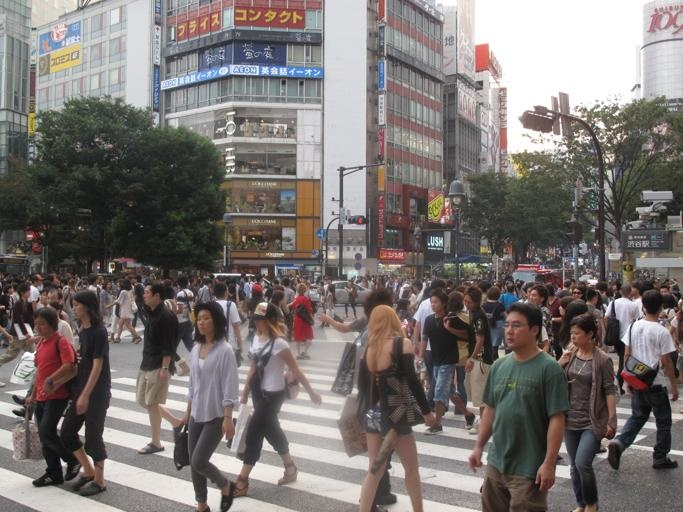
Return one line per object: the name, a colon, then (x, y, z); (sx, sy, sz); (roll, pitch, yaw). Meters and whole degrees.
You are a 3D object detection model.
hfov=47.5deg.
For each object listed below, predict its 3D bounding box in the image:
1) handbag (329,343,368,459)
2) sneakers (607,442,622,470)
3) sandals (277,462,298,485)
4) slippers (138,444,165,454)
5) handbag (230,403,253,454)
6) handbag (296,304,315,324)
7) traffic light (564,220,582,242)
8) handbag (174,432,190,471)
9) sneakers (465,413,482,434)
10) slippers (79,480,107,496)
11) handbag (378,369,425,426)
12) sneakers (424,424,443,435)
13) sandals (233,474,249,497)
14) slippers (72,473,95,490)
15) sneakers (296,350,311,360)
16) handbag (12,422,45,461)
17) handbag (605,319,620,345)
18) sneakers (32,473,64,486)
handbag: (0.108, 1.892, 9.955); (0.434, 1.555, 1.129); (1, -2, -1)
sneakers: (3.699, 2.698, 10.457); (0.188, 0.388, 0.242); (0, -3, 21)
sandals: (-0.713, 2.985, 10.641); (0.347, 0.294, 0.229); (2, -3, -24)
slippers: (-2.824, 2.917, 11.619); (0.308, 0.126, 0.153); (3, -7, -2)
handbag: (-1.302, 2.309, 10.277); (0.270, 0.681, 0.290); (1, -2, -8)
handbag: (-0.945, 1.519, 20.128); (0.211, 0.594, 0.550); (-27, -18, 15)
traffic light: (6.712, -0.726, 22.274); (0.391, 0.697, 1.098); (0, -3, 14)
handbag: (-1.986, 2.484, 9.763); (0.135, 0.427, 0.305); (0, -4, 13)
sneakers: (2.184, 2.812, 12.762); (0.140, 0.186, 0.438); (-8, -11, 19)
slippers: (-3.283, 3.095, 10.295); (0.152, 0.137, 0.315); (-5, -11, 40)
handbag: (0.772, 1.535, 9.360); (0.479, 0.596, 0.868); (-15, -38, 7)
sneakers: (1.581, 2.834, 12.666); (0.432, 0.189, 0.165); (2, -6, -13)
sandals: (-1.293, 3.035, 10.218); (0.172, 0.270, 0.331); (1, -3, -7)
slippers: (-3.443, 3.043, 10.395); (0.128, 0.156, 0.368); (-6, -7, 15)
sneakers: (-0.965, 2.558, 19.725); (0.389, 0.207, 0.138); (-5, -5, 34)
handbag: (-4.203, 2.500, 10.475); (0.415, 0.502, 0.267); (1, -2, -4)
handbag: (5.273, 1.463, 15.095); (0.233, 0.663, 0.456); (1, -4, -5)
sneakers: (-3.952, 3.056, 10.584); (0.424, 0.211, 0.163); (4, -7, -1)
